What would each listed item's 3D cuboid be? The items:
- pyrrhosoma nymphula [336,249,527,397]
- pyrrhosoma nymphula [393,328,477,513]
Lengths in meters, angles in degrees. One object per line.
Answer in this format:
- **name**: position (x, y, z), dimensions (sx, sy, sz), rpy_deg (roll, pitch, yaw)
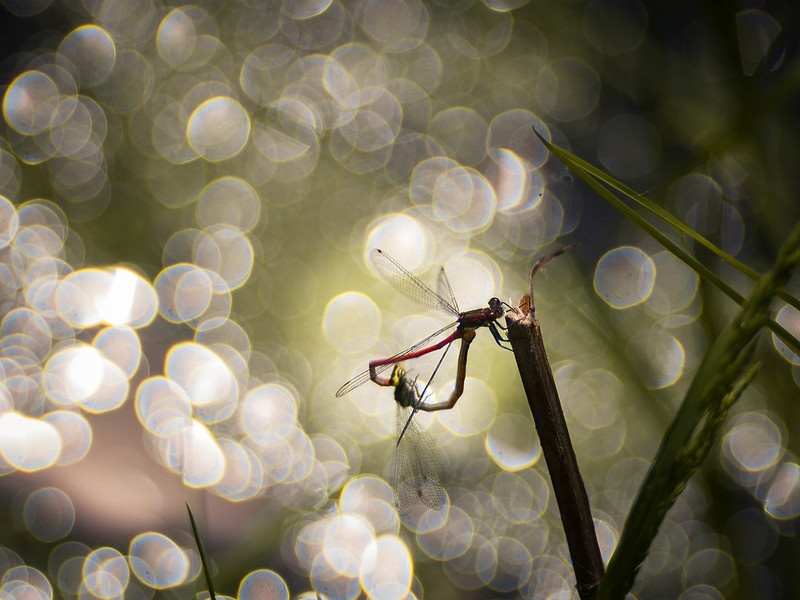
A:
- **pyrrhosoma nymphula**: position (0.032, 0.022, 1.343), dimensions (0.195, 0.115, 0.204), rpy_deg (-32, -18, 2)
- **pyrrhosoma nymphula**: position (0.042, 0.220, 1.446), dimensions (0.166, 0.267, 0.083), rpy_deg (-1, -7, 11)
